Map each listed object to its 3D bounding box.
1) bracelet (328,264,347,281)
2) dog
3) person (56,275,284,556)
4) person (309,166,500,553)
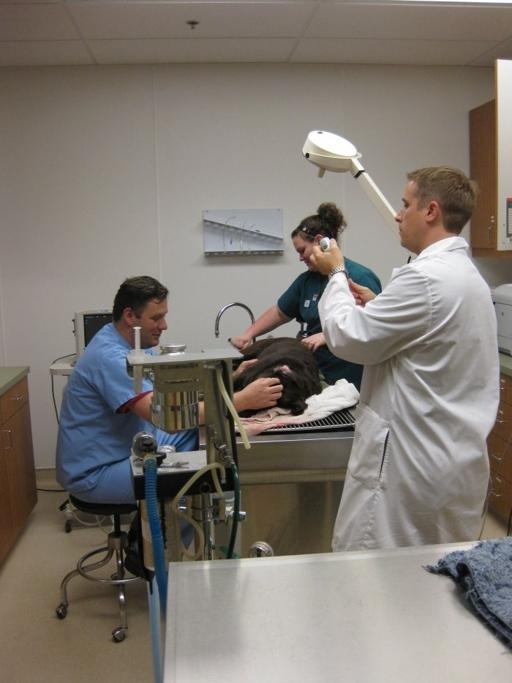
[{"bbox_3d":[0.223,-0.179,1.613,0.045,0.030,0.049,16,-27,-19],"label":"bracelet"},{"bbox_3d":[0.088,0.099,1.983,0.196,0.138,0.309,-5,15,2],"label":"dog"},{"bbox_3d":[-0.475,0.127,2.317,0.998,1.143,0.574,-5,15,-14],"label":"person"},{"bbox_3d":[0.379,0.077,1.522,0.469,1.014,0.300,1,8,5],"label":"person"}]
